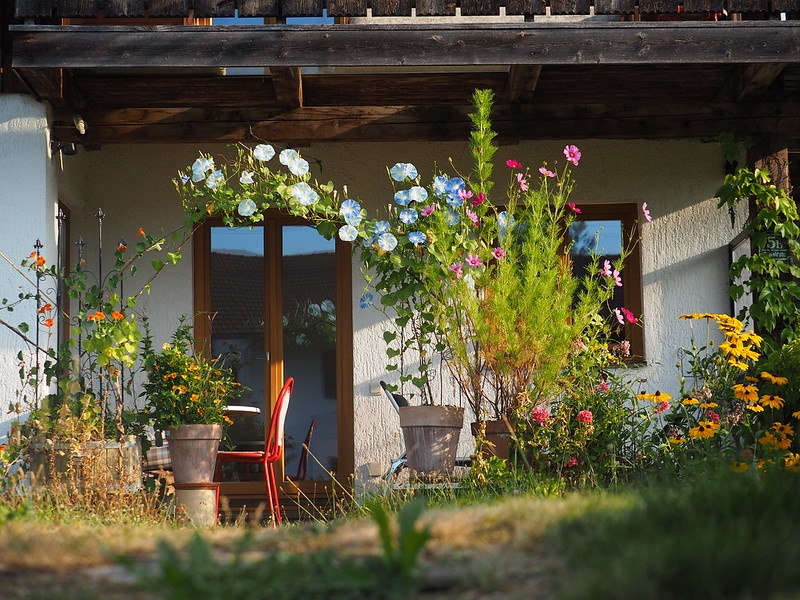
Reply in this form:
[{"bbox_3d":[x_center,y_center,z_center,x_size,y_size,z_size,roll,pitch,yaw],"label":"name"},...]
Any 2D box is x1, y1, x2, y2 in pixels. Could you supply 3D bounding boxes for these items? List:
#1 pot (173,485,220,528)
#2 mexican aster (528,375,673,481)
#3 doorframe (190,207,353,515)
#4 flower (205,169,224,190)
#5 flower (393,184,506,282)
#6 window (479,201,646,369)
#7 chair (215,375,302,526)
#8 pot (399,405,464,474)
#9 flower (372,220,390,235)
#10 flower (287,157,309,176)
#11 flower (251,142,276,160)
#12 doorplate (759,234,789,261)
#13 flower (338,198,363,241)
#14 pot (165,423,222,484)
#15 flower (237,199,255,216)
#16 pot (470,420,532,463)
[{"bbox_3d":[-1.305,1.293,7.780,0.270,0.248,0.315,0,-8,-12],"label":"pot"},{"bbox_3d":[1.162,0.737,7.080,0.699,0.617,1.181,-6,-8,27],"label":"mexican aster"},{"bbox_3d":[-0.967,0.499,9.562,1.300,2.774,0.153,1,31,-2],"label":"doorframe"},{"bbox_3d":[-1.176,-0.748,7.676,0.117,0.126,0.112,-1,-7,-6],"label":"flower"},{"bbox_3d":[0.286,-0.378,7.072,0.637,0.649,0.408,-2,-7,5],"label":"flower"},{"bbox_3d":[1.487,-0.134,9.298,0.643,1.384,0.096,2,-33,4],"label":"window"},{"bbox_3d":[-1.028,0.994,8.243,0.514,0.980,0.484,3,0,-6],"label":"chair"},{"bbox_3d":[0.168,0.814,7.144,0.405,0.429,0.426,2,-2,0],"label":"pot"},{"bbox_3d":[-0.116,-0.413,7.246,0.098,0.085,0.117,-2,-7,2],"label":"flower"},{"bbox_3d":[-0.645,-0.802,7.560,0.110,0.107,0.264,-1,-8,-5],"label":"flower"},{"bbox_3d":[-0.843,-0.895,7.462,0.111,0.106,0.114,-6,-8,29],"label":"flower"},{"bbox_3d":[2.560,-0.358,8.410,0.135,0.161,0.019,9,-14,-6],"label":"doorplate"},{"bbox_3d":[-0.320,-0.474,7.424,0.133,0.250,0.061,2,-12,-16],"label":"flower"},{"bbox_3d":[-1.346,1.007,7.989,0.310,0.373,0.353,0,-10,2],"label":"pot"},{"bbox_3d":[-0.969,-0.564,7.673,0.113,0.108,0.181,-1,-8,-10],"label":"flower"},{"bbox_3d":[0.550,0.770,6.775,0.327,0.403,0.310,0,-10,0],"label":"pot"}]
